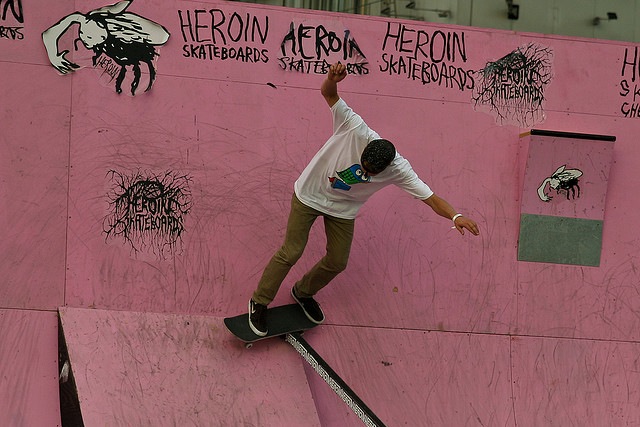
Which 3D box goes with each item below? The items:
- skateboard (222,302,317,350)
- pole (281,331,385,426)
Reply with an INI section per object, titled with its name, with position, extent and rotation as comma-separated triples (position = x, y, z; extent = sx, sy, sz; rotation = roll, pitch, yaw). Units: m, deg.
[skateboard]
position = -0.479, 1.174, 8.619
extent = 1.151, 0.229, 0.450
rotation = -13, 58, -29
[pole]
position = 0.107, 1.820, 8.621
extent = 0.125, 0.092, 1.217
rotation = -27, 65, -21
